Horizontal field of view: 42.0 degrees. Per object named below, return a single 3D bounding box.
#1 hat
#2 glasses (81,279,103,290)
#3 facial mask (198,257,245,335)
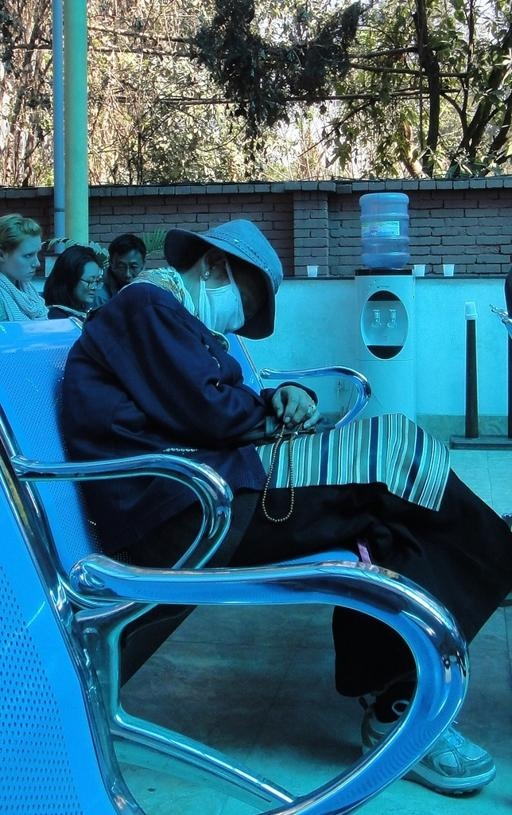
[{"bbox_3d":[-0.052,-0.445,1.811,0.347,0.194,0.343,39,-21,8],"label":"hat"},{"bbox_3d":[-1.068,-0.793,4.322,0.111,0.035,0.109,-3,6,28],"label":"glasses"},{"bbox_3d":[-0.089,-0.292,1.726,0.112,0.176,0.110,2,11,-5],"label":"facial mask"}]
